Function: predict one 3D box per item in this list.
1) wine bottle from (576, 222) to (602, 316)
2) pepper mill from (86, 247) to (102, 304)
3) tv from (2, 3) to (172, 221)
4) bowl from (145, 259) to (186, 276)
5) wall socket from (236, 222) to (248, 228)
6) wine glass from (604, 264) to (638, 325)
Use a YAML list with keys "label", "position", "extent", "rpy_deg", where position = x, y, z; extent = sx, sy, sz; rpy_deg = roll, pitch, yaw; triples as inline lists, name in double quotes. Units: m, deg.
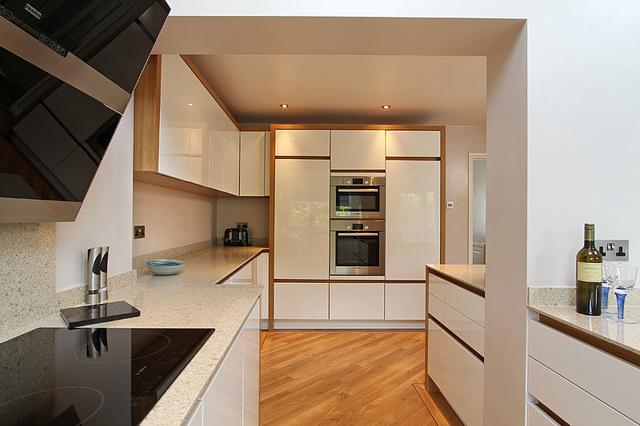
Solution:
- label: "wine bottle"
  position: [1.320, 0.291, 2.124]
  extent: [0.098, 0.477, 0.101]
  rpy_deg: [-2, 11, 0]
- label: "pepper mill"
  position: [-1.204, 0.328, 2.289]
  extent: [0.088, 0.284, 0.083]
  rpy_deg: [-3, 7, -27]
- label: "tv"
  position: [-1.054, -0.439, 1.895]
  extent: [0.596, 0.961, 0.462]
  rpy_deg: [-6, 9, -44]
- label: "bowl"
  position: [-1.148, 0.382, 3.172]
  extent: [0.243, 0.083, 0.429]
  rpy_deg: [-3, 7, -23]
- label: "wall socket"
  position: [-0.947, 0.127, 5.194]
  extent: [0.135, 0.052, 0.064]
  rpy_deg: [-1, 6, -12]
- label: "wine glass"
  position: [1.465, 0.380, 2.098]
  extent: [0.146, 0.256, 0.255]
  rpy_deg: [4, 7, 33]
